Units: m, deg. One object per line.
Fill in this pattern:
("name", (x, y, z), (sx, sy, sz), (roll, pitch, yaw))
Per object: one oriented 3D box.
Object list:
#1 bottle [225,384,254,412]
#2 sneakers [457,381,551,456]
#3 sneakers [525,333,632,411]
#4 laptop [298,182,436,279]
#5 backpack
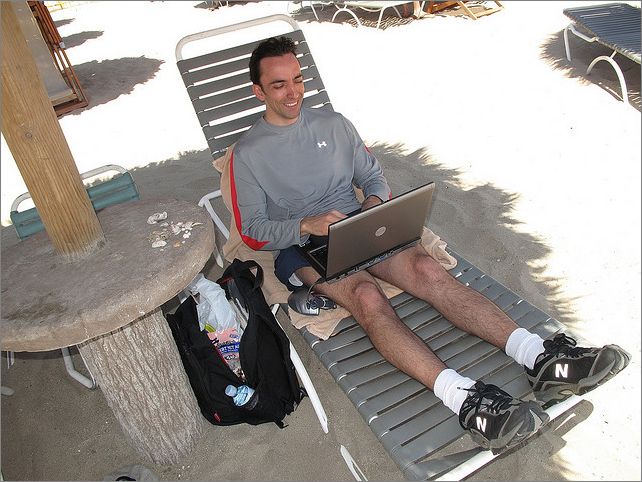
("bottle", (-0.454, 0.882, 2.559), (0.162, 0.091, 0.102), (26, 83, -3))
("sneakers", (0.791, 0.798, 2.159), (0.240, 0.214, 0.452), (-35, 8, -18))
("sneakers", (1.173, 0.624, 2.239), (0.552, 0.291, 0.224), (-24, 11, 32))
("laptop", (0.248, -0.046, 2.584), (0.544, 0.355, 0.359), (-23, 42, -25))
("backpack", (-0.498, 0.615, 2.865), (0.785, 0.375, 1.007), (-28, 83, 4))
